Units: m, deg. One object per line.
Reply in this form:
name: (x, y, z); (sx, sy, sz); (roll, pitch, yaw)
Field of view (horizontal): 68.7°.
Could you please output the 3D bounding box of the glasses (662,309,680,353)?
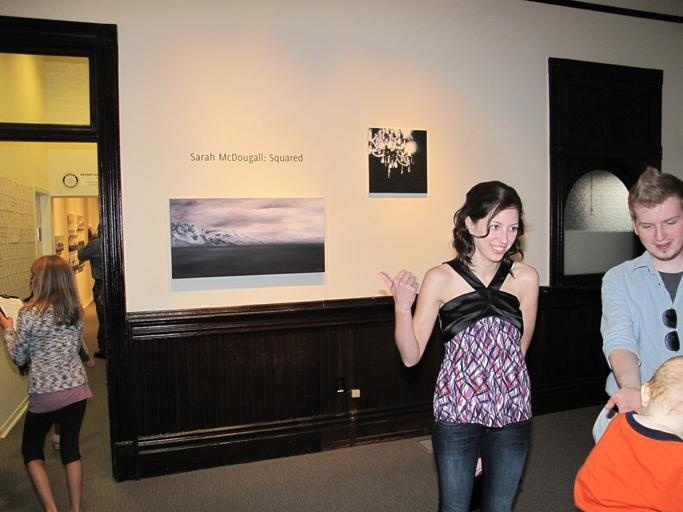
glasses: (1.620, 0.366, 2.463); (0.065, 0.197, 0.085); (3, 10, 17)
